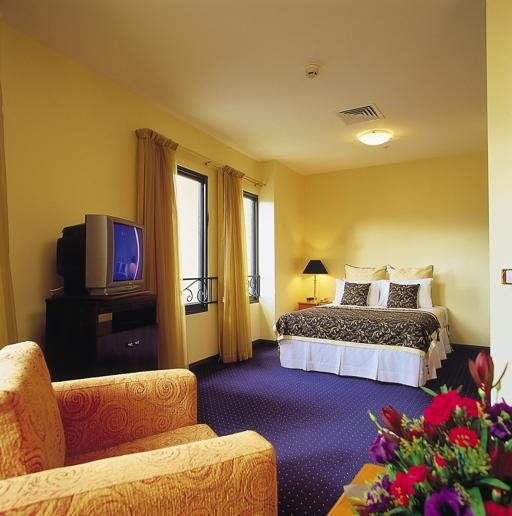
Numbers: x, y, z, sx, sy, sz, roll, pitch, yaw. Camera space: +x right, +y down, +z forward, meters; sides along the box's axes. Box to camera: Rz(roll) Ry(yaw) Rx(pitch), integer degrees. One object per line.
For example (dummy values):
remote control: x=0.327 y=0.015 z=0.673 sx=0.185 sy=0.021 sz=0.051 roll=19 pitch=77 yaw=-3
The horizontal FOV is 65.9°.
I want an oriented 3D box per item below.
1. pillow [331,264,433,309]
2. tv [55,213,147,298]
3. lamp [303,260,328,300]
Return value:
pillow: x=1.724 y=0.355 z=5.342 sx=1.244 sy=0.533 sz=0.802 roll=-1 pitch=0 yaw=26
tv: x=-1.048 y=-0.023 z=2.728 sx=0.417 sy=0.517 sz=0.664 roll=-1 pitch=-2 yaw=5
lamp: x=0.926 y=0.326 z=6.115 sx=0.359 sy=0.637 sz=0.458 roll=-1 pitch=0 yaw=9
